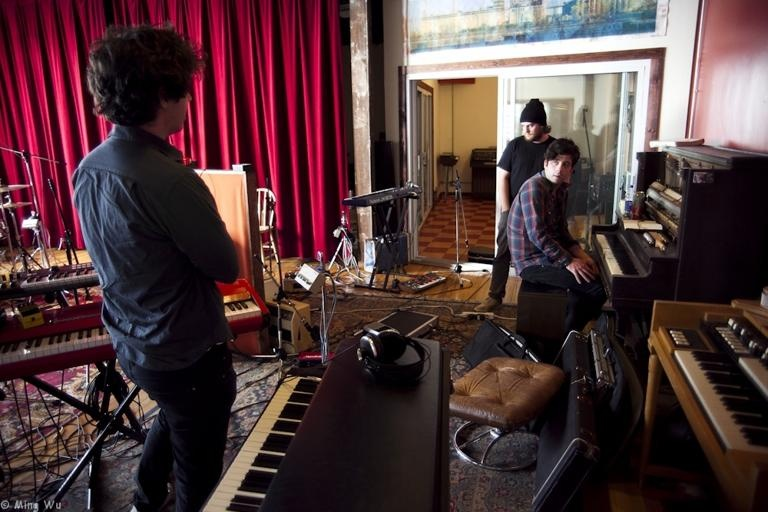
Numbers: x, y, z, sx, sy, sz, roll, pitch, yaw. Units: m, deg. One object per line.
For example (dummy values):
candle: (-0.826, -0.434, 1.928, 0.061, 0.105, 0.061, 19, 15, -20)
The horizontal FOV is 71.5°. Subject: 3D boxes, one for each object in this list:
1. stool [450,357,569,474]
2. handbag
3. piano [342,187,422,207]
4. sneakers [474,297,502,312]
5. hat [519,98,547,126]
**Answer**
stool: (0.706, 0.938, 3.270, 0.569, 0.436, 0.801, 11, 18, 39)
handbag: (0.828, 0.668, 3.857, 0.420, 0.153, 0.322, 21, 28, 10)
piano: (0.006, -0.588, 5.395, 0.910, 0.159, 0.308, -20, 24, -40)
sneakers: (0.980, 0.462, 5.063, 0.292, 0.134, 0.110, -2, 3, -25)
hat: (1.350, -1.322, 4.882, 0.259, 0.234, 0.198, 11, 20, 14)
